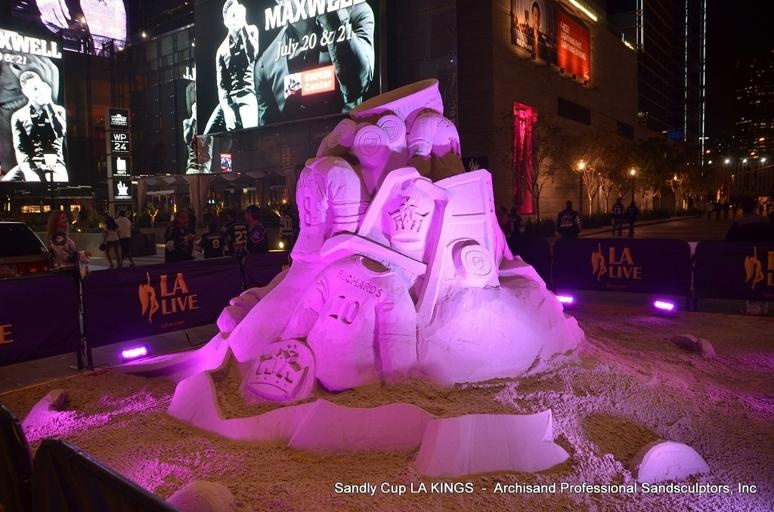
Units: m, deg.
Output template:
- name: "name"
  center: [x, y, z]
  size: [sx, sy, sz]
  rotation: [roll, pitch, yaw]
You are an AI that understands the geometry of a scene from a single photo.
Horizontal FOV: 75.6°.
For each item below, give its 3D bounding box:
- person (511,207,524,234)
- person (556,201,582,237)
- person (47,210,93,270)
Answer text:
- name: "person"
  center: [5.321, -1.455, 20.981]
  size: [0.424, 1.123, 2.456]
  rotation: [1, 11, 14]
- name: "person"
  center: [6.902, -1.205, 19.596]
  size: [0.812, 2.326, 0.563]
  rotation: [4, 42, 17]
- name: "person"
  center: [-6.325, -0.305, 9.887]
  size: [0.832, 1.156, 0.602]
  rotation: [2, 11, 18]
